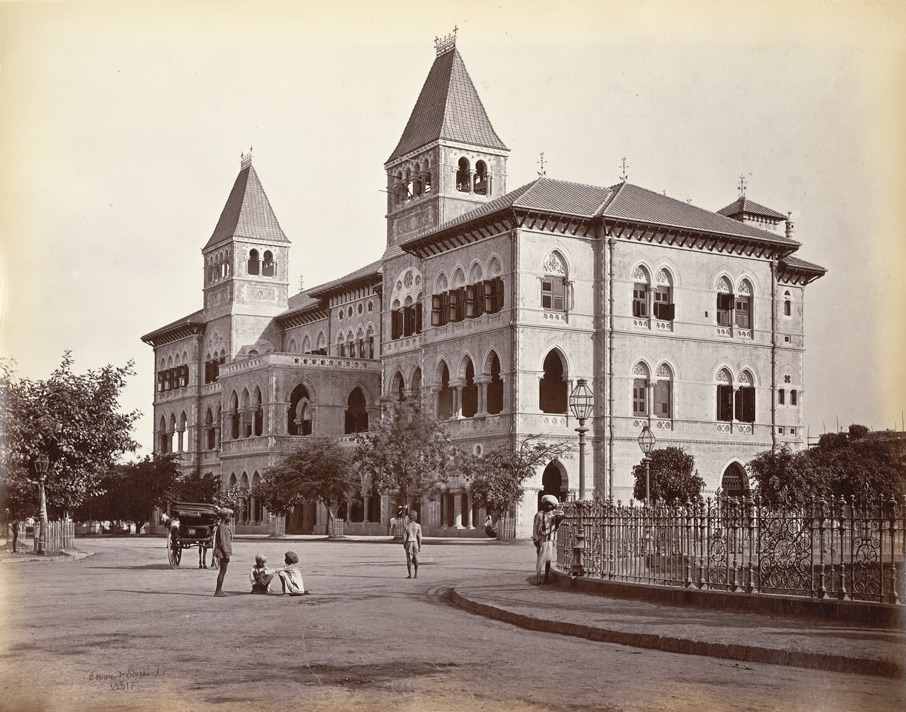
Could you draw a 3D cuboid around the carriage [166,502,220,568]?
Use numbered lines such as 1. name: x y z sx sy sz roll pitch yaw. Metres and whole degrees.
1. carriage: -7.596 5.166 36.533 1.447 1.806 2.520 1 12 -10
